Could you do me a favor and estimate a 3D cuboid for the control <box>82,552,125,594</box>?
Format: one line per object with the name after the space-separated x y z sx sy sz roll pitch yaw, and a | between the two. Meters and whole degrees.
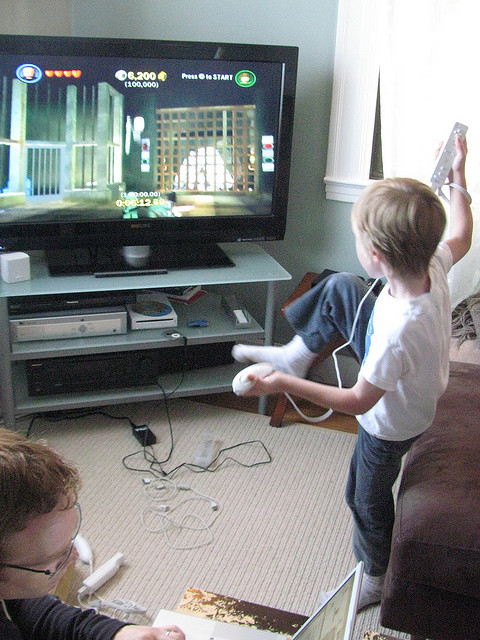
-0.382 0.710 1.447 0.037 0.036 0.134 27 31 27 | control

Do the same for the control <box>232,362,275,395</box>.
0.036 0.115 1.068 0.098 0.026 0.056 -23 31 -20 | control
